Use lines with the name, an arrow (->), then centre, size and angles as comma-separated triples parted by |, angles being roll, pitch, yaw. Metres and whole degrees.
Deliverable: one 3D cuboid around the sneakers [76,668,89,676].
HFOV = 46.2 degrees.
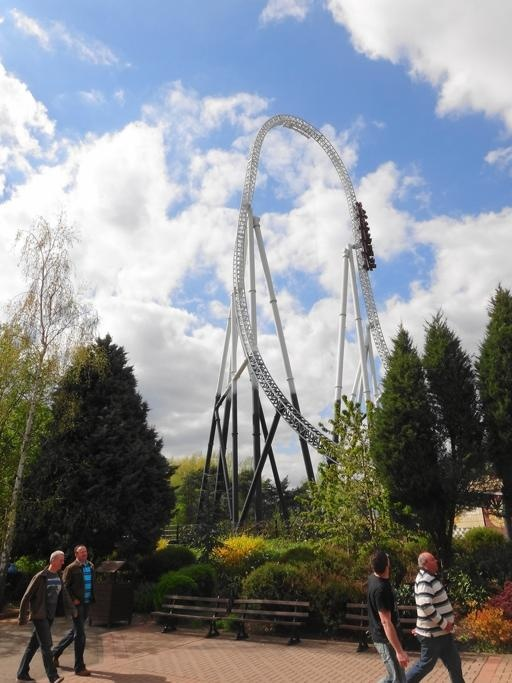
sneakers -> -2.602, 4.951, 9.011 | 0.208, 0.098, 0.228 | 5, -17, -15
